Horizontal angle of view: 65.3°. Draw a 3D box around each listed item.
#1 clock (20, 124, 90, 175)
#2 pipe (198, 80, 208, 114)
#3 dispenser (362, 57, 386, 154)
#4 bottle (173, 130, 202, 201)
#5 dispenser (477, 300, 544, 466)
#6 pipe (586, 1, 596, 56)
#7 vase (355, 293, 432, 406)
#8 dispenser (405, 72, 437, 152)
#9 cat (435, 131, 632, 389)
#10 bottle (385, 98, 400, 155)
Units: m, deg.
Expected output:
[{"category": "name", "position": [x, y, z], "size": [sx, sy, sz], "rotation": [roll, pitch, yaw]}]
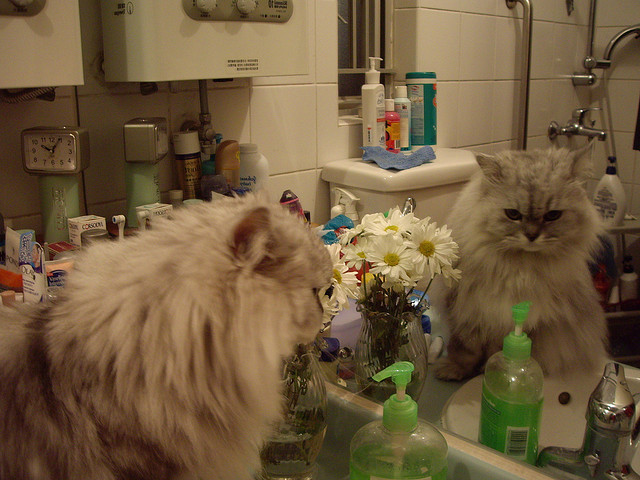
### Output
[{"category": "clock", "position": [-0.511, -0.167, 0.963], "size": [0.100, 0.098, 0.056], "rotation": [-1, 3, -10]}, {"category": "pipe", "position": [-0.299, -0.364, 1.271], "size": [0.017, 0.082, 0.038], "rotation": [-3, 13, -15]}, {"category": "dispenser", "position": [0.176, -0.450, 1.645], "size": [0.081, 0.285, 0.149], "rotation": [0, 13, 1]}, {"category": "bottle", "position": [-0.324, -0.185, 1.239], "size": [0.066, 0.165, 0.056], "rotation": [-7, 15, -28]}, {"category": "dispenser", "position": [0.278, 0.216, 0.724], "size": [0.086, 0.208, 0.075], "rotation": [7, 14, 26]}, {"category": "pipe", "position": [1.217, -0.945, 2.232], "size": [0.019, 0.228, 0.038], "rotation": [-11, 17, -41]}, {"category": "vase", "position": [0.132, 0.152, 0.842], "size": [0.137, 0.221, 0.148], "rotation": [2, 10, 18]}, {"category": "dispenser", "position": [0.340, -0.431, 1.692], "size": [0.105, 0.255, 0.068], "rotation": [2, 13, 10]}, {"category": "cat", "position": [0.383, 0.039, 0.933], "size": [0.320, 0.429, 0.224], "rotation": [3, 13, 14]}, {"category": "bottle", "position": [0.235, -0.376, 1.641], "size": [0.053, 0.169, 0.061], "rotation": [5, 14, 21]}]
